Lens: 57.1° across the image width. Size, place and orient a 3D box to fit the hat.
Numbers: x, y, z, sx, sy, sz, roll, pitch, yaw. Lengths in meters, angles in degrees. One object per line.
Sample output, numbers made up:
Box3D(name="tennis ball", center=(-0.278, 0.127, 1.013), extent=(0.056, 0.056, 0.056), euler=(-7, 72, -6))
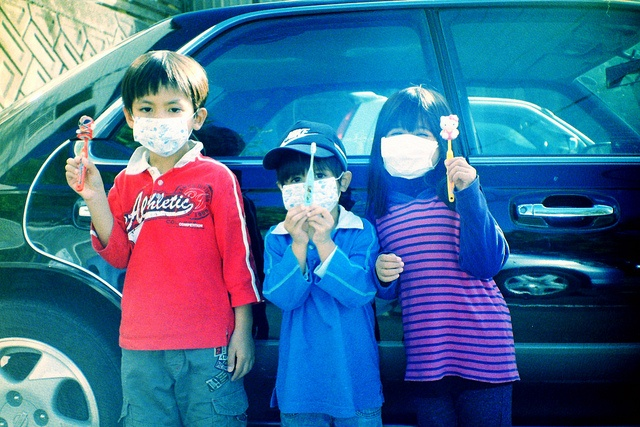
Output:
Box3D(name="hat", center=(-0.081, -0.415, 3.187), extent=(0.370, 0.285, 0.519), euler=(-7, 12, -8))

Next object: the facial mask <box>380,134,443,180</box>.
Box3D(name="facial mask", center=(0.461, -0.312, 3.130), extent=(0.250, 0.189, 0.245), euler=(3, -5, 10))
